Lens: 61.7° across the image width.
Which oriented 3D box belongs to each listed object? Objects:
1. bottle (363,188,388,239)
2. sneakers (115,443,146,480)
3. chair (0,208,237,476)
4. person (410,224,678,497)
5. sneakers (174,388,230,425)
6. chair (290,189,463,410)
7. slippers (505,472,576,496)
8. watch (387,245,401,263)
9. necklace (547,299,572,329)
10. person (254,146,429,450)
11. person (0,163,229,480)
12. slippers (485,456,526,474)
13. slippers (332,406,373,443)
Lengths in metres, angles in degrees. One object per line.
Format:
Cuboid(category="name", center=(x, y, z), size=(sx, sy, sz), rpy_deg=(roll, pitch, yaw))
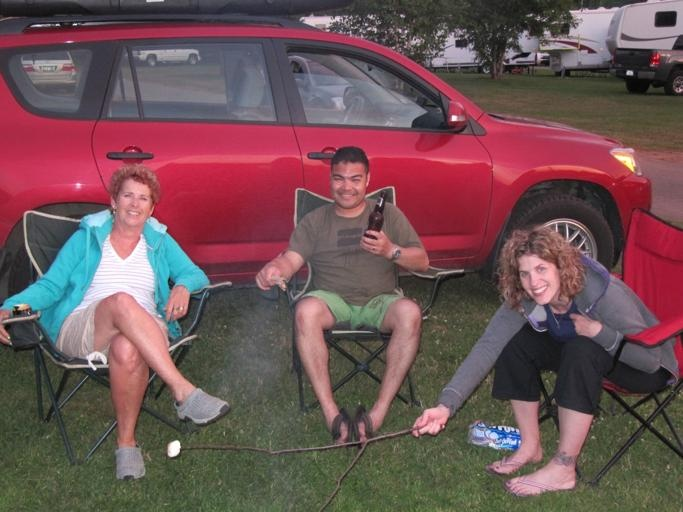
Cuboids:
Cuboid(category="bottle", center=(0.204, -0.258, 3.349), size=(0.094, 0.242, 0.394), rpy_deg=(5, 24, 7))
Cuboid(category="sneakers", center=(-1.035, 1.008, 2.793), size=(0.105, 0.072, 0.167), rpy_deg=(0, 12, -19))
Cuboid(category="chair", center=(-1.326, 0.405, 3.231), size=(1.126, 1.281, 0.940), rpy_deg=(-4, 10, -40))
Cuboid(category="person", center=(1.041, 0.490, 3.348), size=(1.499, 1.515, 0.978), rpy_deg=(0, 1, -21))
Cuboid(category="sneakers", center=(-0.685, 0.735, 2.844), size=(0.271, 0.131, 0.143), rpy_deg=(4, 31, 31))
Cuboid(category="chair", center=(0.084, 0.263, 3.422), size=(1.105, 1.279, 1.176), rpy_deg=(6, 11, 39))
Cuboid(category="slippers", center=(0.948, 1.059, 2.710), size=(0.262, 0.070, 0.125), rpy_deg=(1, 0, 10))
Cuboid(category="watch", center=(0.305, -0.012, 3.282), size=(0.053, 0.091, 0.085), rpy_deg=(-3, 30, -13))
Cuboid(category="necklace", center=(1.097, 0.301, 2.894), size=(0.108, 0.115, 0.044), rpy_deg=(-2, 4, 33))
Cuboid(category="person", center=(0.056, 0.133, 3.195), size=(0.849, 1.306, 1.026), rpy_deg=(-9, 26, -24))
Cuboid(category="person", center=(-1.180, 0.296, 2.979), size=(0.920, 1.290, 1.051), rpy_deg=(-8, 26, -22))
Cuboid(category="slippers", center=(0.814, 1.058, 2.882), size=(0.168, 0.044, 0.083), rpy_deg=(-3, 11, -21))
Cuboid(category="slippers", center=(0.056, 0.859, 2.908), size=(0.132, 0.085, 0.206), rpy_deg=(2, -4, -6))
